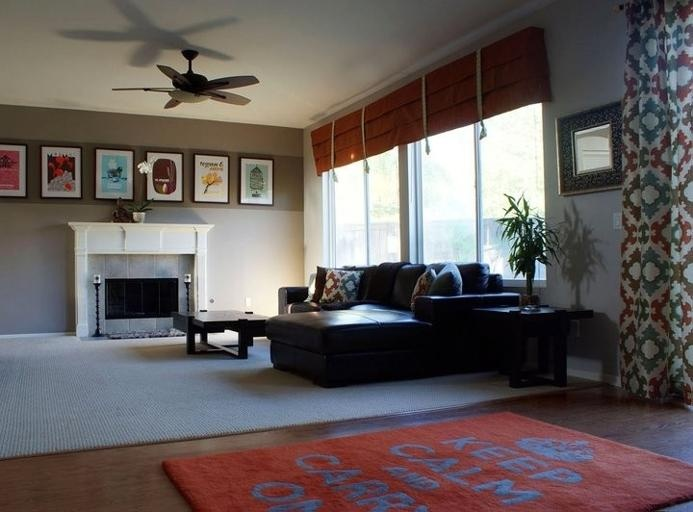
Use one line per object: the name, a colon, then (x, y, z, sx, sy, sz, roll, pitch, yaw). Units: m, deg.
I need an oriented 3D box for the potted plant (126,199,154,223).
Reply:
potted plant: (-3.247, -0.708, 7.705, 0.326, 0.302, 0.336, -1, 1, 39)

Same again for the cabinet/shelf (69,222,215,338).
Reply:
cabinet/shelf: (-3.211, 0.323, 7.619, 1.912, 1.702, 0.619, 0, 0, -31)

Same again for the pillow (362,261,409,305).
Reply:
pillow: (0.467, 0.321, 5.913, 0.177, 0.477, 0.487, 14, -10, -32)

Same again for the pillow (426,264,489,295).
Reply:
pillow: (1.102, 0.221, 4.712, 0.370, 0.126, 0.381, -3, 8, 8)

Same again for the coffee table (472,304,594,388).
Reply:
coffee table: (1.536, 0.680, 4.262, 0.746, 0.576, 0.725, 1, -3, -22)

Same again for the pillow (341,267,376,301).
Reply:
pillow: (0.194, 0.336, 6.178, 0.357, 0.379, 0.145, 0, -12, 38)

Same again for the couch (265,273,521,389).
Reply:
couch: (0.293, 0.732, 4.474, 1.179, 0.681, 1.627, 4, -6, -26)

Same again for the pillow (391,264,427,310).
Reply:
pillow: (0.652, 0.319, 5.493, 0.195, 0.449, 0.434, 11, 25, 1)

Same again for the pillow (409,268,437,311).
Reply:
pillow: (0.750, 0.333, 4.800, 0.114, 0.352, 0.294, 23, 37, -4)

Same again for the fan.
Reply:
fan: (-1.562, -1.809, 5.262, 1.019, 0.388, 0.973, 0, 1, 27)

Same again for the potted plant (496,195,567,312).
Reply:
potted plant: (1.702, -0.110, 4.570, 0.529, 0.875, 0.849, -1, -1, 19)
